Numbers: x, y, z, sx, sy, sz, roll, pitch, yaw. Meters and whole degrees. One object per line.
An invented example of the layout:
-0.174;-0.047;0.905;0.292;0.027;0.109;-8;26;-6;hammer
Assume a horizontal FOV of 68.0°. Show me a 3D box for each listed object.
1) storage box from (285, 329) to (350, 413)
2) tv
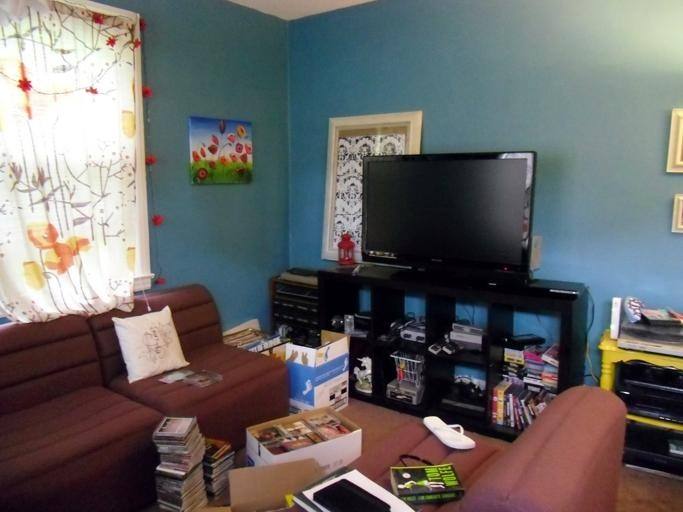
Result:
-0.161;0.853;3.651;0.350;0.673;0.540;3;6;38;storage box
0.795;-0.270;3.585;0.971;0.655;0.069;7;14;33;tv
